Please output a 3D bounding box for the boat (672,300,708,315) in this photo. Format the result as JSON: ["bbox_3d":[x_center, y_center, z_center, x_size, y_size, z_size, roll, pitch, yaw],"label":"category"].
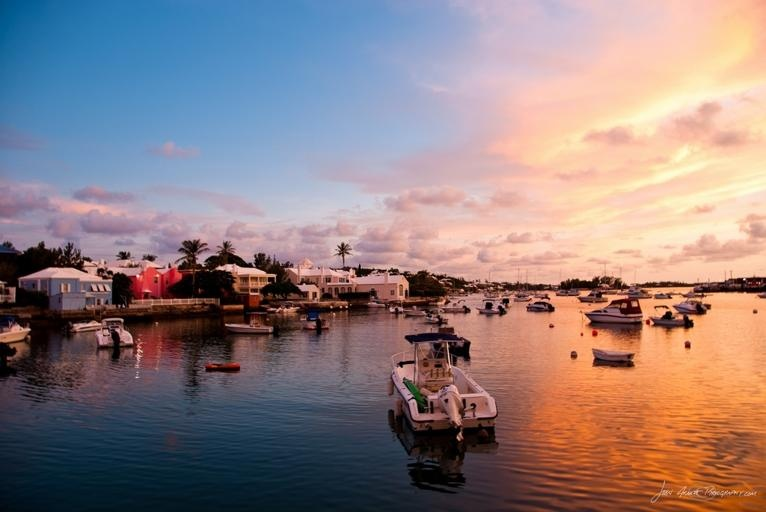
[{"bbox_3d":[57.524,9.727,121.007,6.644,2.291,2.546,2,-4,0],"label":"boat"}]

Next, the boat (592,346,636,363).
[{"bbox_3d":[19.275,8.332,54.249,3.045,0.805,1.334,-2,-1,36],"label":"boat"}]

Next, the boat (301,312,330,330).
[{"bbox_3d":[-8.743,8.641,83.982,1.854,1.827,5.240,1,-4,-17],"label":"boat"}]

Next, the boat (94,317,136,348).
[{"bbox_3d":[-27.409,8.344,65.752,3.322,2.163,7.029,2,10,-27],"label":"boat"}]

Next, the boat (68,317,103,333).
[{"bbox_3d":[-37.185,8.711,80.901,2.065,0.932,3.127,7,9,36],"label":"boat"}]

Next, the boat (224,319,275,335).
[{"bbox_3d":[-16.362,8.326,77.915,6.912,1.593,2.306,3,-8,3],"label":"boat"}]

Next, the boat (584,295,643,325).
[{"bbox_3d":[32.454,7.928,92.315,9.176,3.125,3.659,-3,-2,16],"label":"boat"}]

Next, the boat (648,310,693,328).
[{"bbox_3d":[42.188,9.235,94.423,5.390,2.261,2.609,-1,0,16],"label":"boat"}]

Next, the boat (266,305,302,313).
[{"bbox_3d":[-18.540,10.253,121.572,5.094,1.222,1.953,4,-6,-42],"label":"boat"}]
